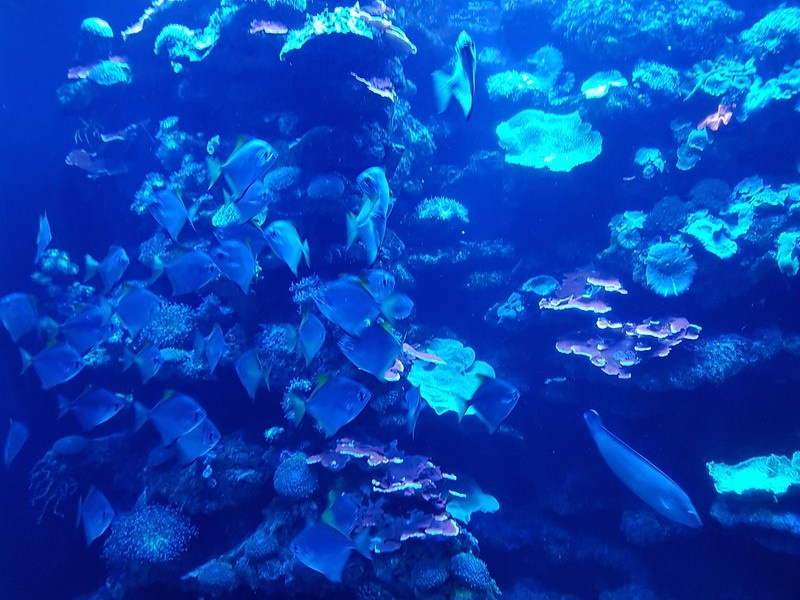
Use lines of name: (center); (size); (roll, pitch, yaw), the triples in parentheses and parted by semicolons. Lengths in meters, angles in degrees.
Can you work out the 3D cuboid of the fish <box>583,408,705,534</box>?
fish: (4.142, 2.926, 13.337); (2.077, 0.563, 0.787); (48, 39, 6)
